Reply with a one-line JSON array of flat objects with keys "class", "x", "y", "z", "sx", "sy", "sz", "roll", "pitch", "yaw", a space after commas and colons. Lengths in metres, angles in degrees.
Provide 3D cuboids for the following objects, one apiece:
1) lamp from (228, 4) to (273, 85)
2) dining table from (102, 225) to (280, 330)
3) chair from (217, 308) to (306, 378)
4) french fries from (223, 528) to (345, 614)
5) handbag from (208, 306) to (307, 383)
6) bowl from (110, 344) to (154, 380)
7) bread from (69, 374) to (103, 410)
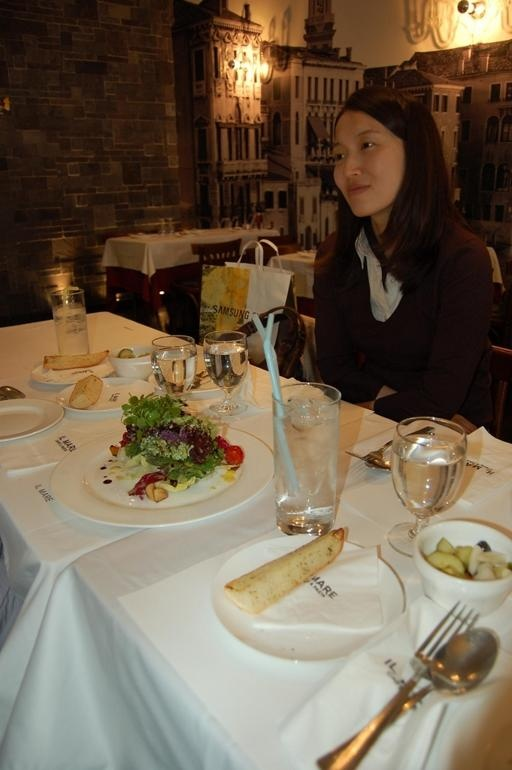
[{"class": "lamp", "x": -0.068, "y": -3.783, "z": 6.419, "sx": 0.145, "sy": 0.380, "sz": 0.629, "roll": 16, "pitch": 26, "yaw": 42}, {"class": "dining table", "x": -0.849, "y": -1.153, "z": 5.010, "sx": 1.068, "sy": 0.656, "sz": 1.359, "roll": 19, "pitch": 34, "yaw": 35}, {"class": "chair", "x": 0.037, "y": -0.139, "z": 1.715, "sx": 0.162, "sy": 0.231, "sz": 0.244, "roll": 11, "pitch": 23, "yaw": 39}, {"class": "french fries", "x": 0.040, "y": 0.175, "z": 0.591, "sx": 0.163, "sy": 0.039, "sz": 0.044, "roll": -20, "pitch": 25, "yaw": -39}, {"class": "handbag", "x": 0.043, "y": -0.122, "z": 1.730, "sx": 0.242, "sy": 0.257, "sz": 0.171, "roll": 9, "pitch": 17, "yaw": -3}, {"class": "bowl", "x": -0.296, "y": -0.061, "z": 1.304, "sx": 0.094, "sy": 0.059, "sz": 0.094, "roll": 2, "pitch": 9, "yaw": 0}, {"class": "bread", "x": -0.346, "y": 0.011, "z": 1.136, "sx": 0.055, "sy": 0.018, "sz": 0.075, "roll": 20, "pitch": 53, "yaw": 26}]
